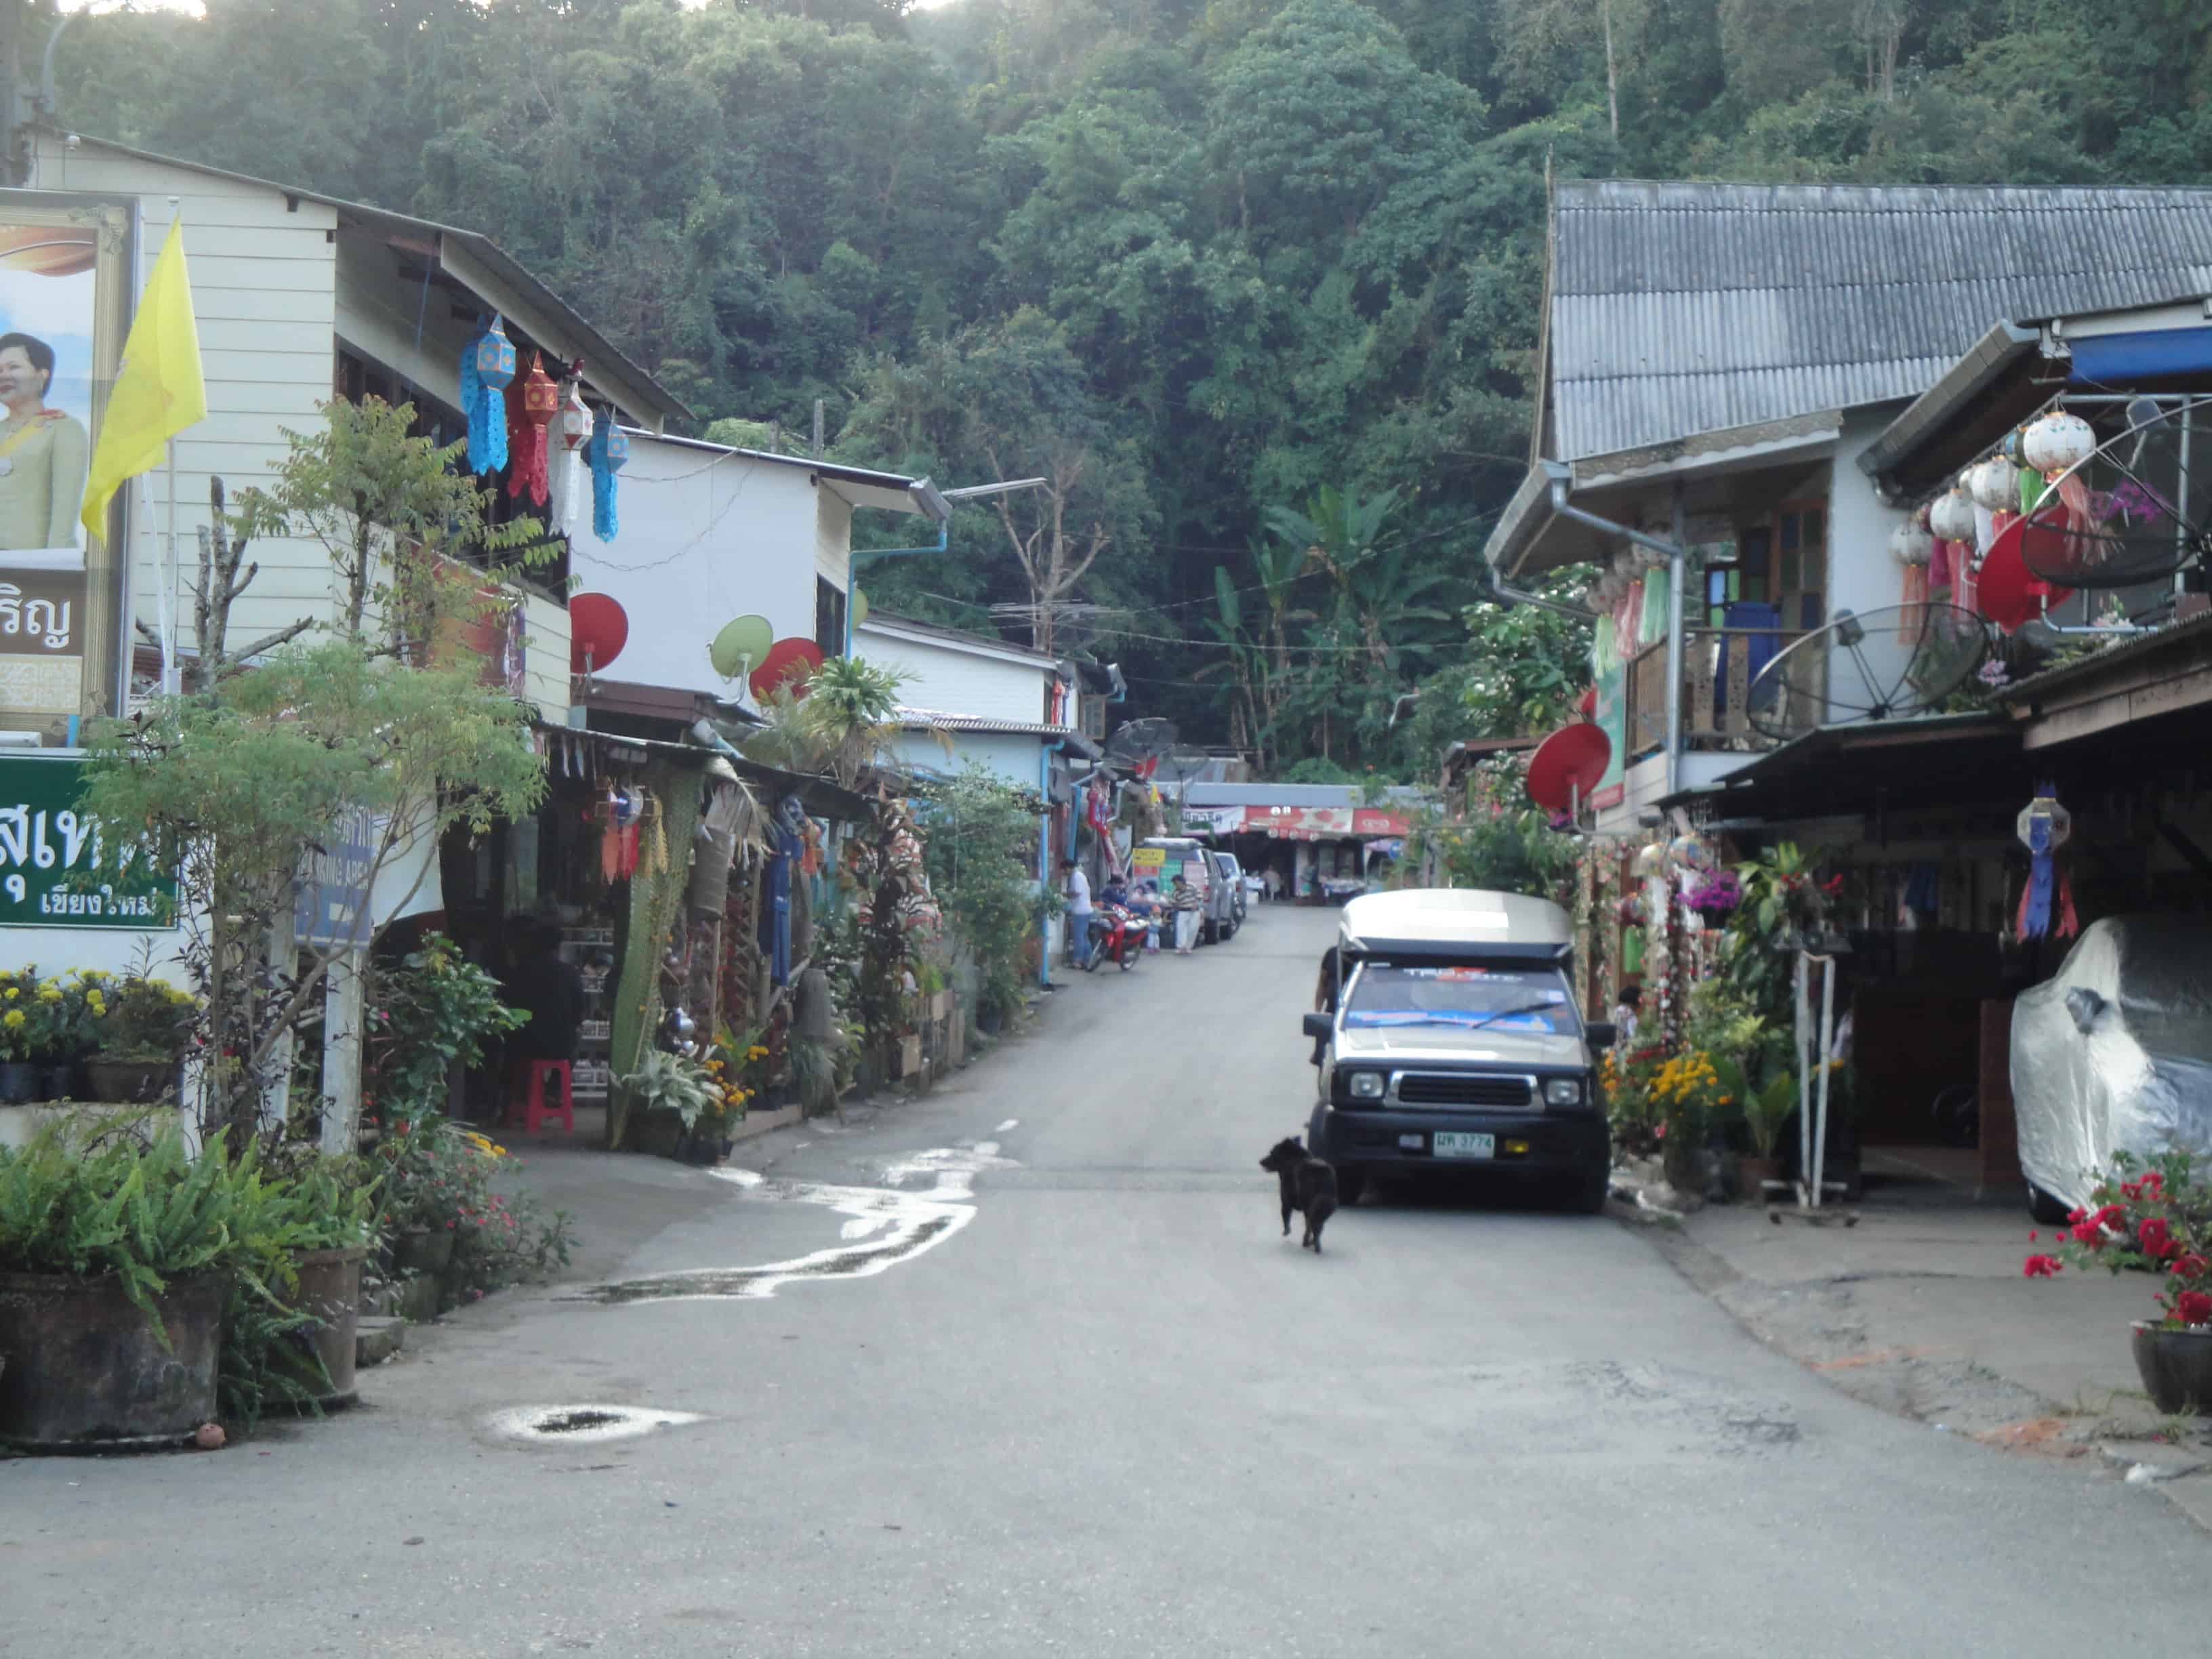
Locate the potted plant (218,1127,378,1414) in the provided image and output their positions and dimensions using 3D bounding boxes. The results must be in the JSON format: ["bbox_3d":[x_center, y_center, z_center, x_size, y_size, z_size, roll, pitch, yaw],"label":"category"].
[{"bbox_3d":[-4.422,2.498,14.704,0.623,1.513,0.705,12,4,-8],"label":"potted plant"}]

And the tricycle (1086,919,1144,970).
[{"bbox_3d":[0.137,1.972,46.445,0.764,0.875,1.494,0,-4,6],"label":"tricycle"}]

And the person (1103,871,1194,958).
[{"bbox_3d":[0.787,1.594,50.227,0.887,1.268,1.915,-1,-9,28],"label":"person"}]

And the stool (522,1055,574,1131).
[{"bbox_3d":[-5.183,2.425,24.776,0.519,0.817,0.592,3,-7,-26],"label":"stool"}]

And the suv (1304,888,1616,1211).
[{"bbox_3d":[2.926,1.882,22.444,2.073,2.723,3.816,1,1,4],"label":"suv"}]

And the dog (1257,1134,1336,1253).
[{"bbox_3d":[1.423,2.663,19.750,0.322,0.659,1.238,15,4,-10],"label":"dog"}]

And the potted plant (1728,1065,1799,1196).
[{"bbox_3d":[5.391,2.378,21.797,0.498,1.060,1.264,0,-3,15],"label":"potted plant"}]

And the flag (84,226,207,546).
[{"bbox_3d":[-6.315,-2.997,17.572,0.842,2.027,0.353,-1,-2,25],"label":"flag"}]

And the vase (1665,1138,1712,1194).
[{"bbox_3d":[4.901,2.750,21.992,0.307,0.400,0.631,4,2,6],"label":"vase"}]

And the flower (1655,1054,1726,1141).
[{"bbox_3d":[4.827,2.119,22.070,0.505,0.861,0.679,-1,0,1],"label":"flower"}]

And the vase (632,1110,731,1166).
[{"bbox_3d":[-3.729,2.655,23.296,0.512,0.415,0.527,7,-11,-30],"label":"vase"}]

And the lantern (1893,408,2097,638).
[{"bbox_3d":[7.160,-2.469,21.003,1.043,2.119,1.159,-2,4,-8],"label":"lantern"}]
